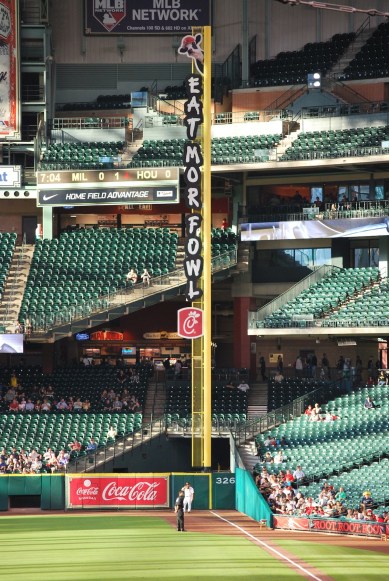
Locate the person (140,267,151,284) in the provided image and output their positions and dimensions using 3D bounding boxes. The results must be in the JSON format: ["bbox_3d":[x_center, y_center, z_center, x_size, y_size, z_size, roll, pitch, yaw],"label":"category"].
[{"bbox_3d":[-1.951,-0.552,56.767,0.389,0.355,1.038,-5,40,1],"label":"person"}]

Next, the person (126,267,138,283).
[{"bbox_3d":[-2.512,-0.569,56.973,0.544,0.882,0.489,1,-10,-3],"label":"person"}]
